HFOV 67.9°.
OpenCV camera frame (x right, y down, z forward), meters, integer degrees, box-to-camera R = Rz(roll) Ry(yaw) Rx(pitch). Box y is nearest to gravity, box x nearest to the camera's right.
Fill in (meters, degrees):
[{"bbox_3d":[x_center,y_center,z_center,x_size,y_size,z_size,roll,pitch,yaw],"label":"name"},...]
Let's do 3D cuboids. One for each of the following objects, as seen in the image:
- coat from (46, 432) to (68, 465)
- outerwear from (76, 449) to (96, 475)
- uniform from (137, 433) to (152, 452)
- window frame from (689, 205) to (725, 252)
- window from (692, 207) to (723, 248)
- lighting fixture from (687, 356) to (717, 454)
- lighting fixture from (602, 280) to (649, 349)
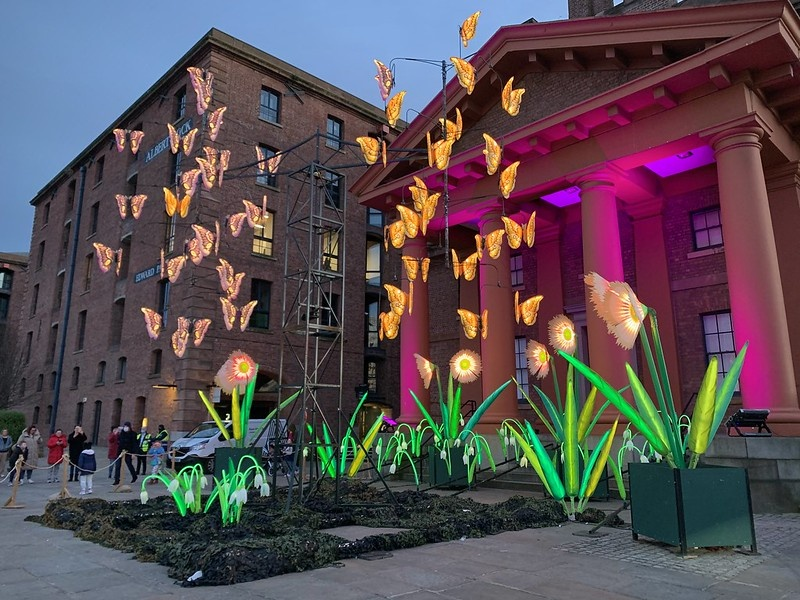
[{"bbox_3d":[-11.538,4.972,19.924,0.474,1.087,0.798,3,-5,-32],"label":"coat"},{"bbox_3d":[-9.019,4.710,17.094,0.388,0.703,0.587,3,-5,-29],"label":"outerwear"},{"bbox_3d":[-9.656,5.410,22.392,0.617,0.789,0.432,-1,-9,17],"label":"uniform"},{"bbox_3d":[10.212,-2.331,19.573,0.106,1.312,1.455,13,-28,-43],"label":"window frame"},{"bbox_3d":[10.352,-2.401,19.808,1.177,1.060,0.092,-21,-21,36],"label":"window"},{"bbox_3d":[5.360,1.897,10.450,0.457,1.783,0.534,-2,-5,27],"label":"lighting fixture"},{"bbox_3d":[3.844,0.245,10.110,0.490,1.146,0.732,-4,-6,42],"label":"lighting fixture"}]
